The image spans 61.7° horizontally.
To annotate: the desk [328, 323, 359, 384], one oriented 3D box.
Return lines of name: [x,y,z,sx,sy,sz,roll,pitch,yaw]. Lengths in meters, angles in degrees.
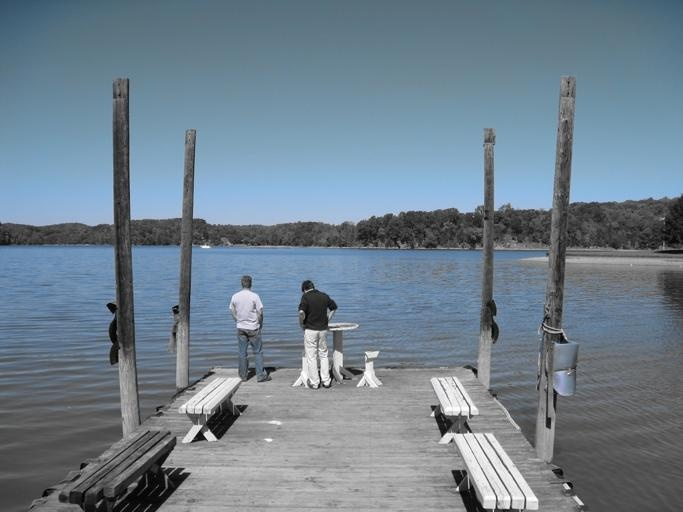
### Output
desk: [0.219,2.217,13.275,1.160,1.289,1.183,-1,-1,-11]

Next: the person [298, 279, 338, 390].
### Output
person: [-0.548,1.730,12.467,0.768,2.358,1.102,1,3,-2]

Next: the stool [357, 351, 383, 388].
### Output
stool: [0.655,2.495,13.002,0.585,0.843,1.111,2,2,10]

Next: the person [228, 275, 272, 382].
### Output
person: [-2.086,1.645,12.840,0.696,2.436,0.912,2,3,14]
